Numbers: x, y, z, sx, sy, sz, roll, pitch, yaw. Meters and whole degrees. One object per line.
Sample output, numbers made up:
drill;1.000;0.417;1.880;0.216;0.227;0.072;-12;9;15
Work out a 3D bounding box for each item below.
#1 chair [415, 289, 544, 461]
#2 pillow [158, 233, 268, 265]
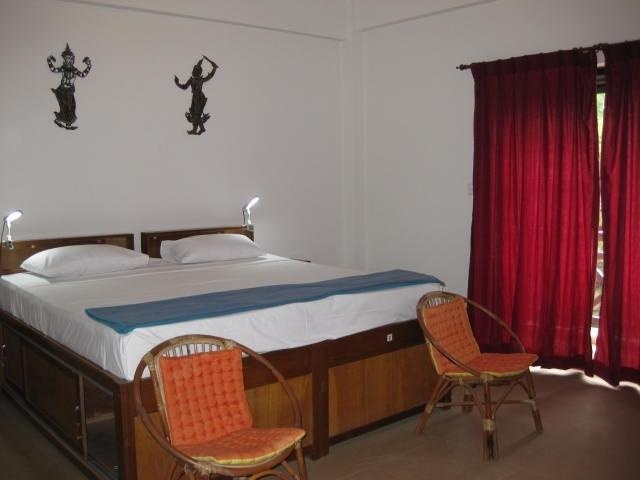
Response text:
chair;1.026;0.732;3.209;0.901;1.110;0.835;-3;0;-36
pillow;-0.974;0.086;4.225;0.486;0.132;0.429;-4;10;-34
